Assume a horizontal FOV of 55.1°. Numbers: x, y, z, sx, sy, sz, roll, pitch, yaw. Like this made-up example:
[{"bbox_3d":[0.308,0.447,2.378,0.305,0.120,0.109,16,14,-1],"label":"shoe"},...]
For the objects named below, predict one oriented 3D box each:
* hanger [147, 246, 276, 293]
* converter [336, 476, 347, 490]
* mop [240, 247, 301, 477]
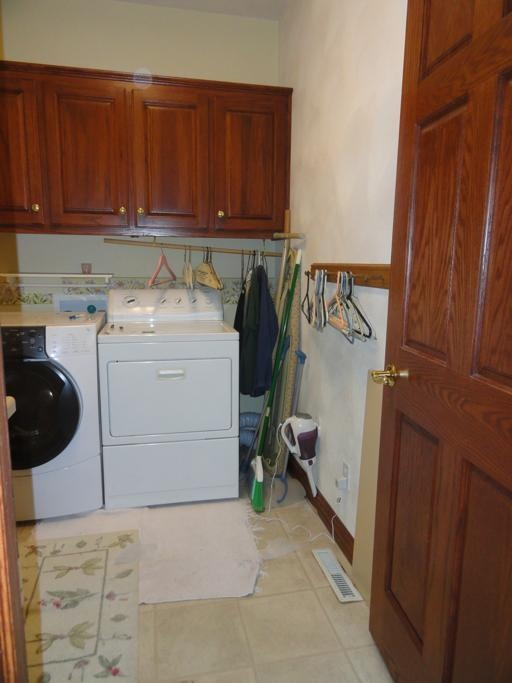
[{"bbox_3d":[-0.297,-0.436,2.655,0.617,0.329,0.397,4,11,-19],"label":"hanger"},{"bbox_3d":[0.346,0.572,1.992,0.034,0.050,0.041,3,-8,-27],"label":"converter"},{"bbox_3d":[0.075,0.092,2.532,0.220,1.280,0.252,1,10,-14],"label":"mop"}]
